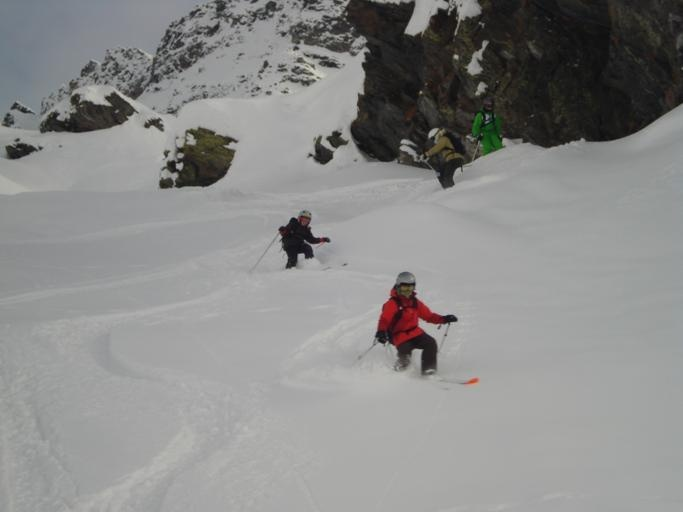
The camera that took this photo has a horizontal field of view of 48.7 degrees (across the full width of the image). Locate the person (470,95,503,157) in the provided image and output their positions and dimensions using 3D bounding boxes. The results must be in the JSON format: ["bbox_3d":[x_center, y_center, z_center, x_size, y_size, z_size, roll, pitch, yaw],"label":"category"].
[{"bbox_3d":[4.336,-3.838,22.579,0.873,1.585,0.813,2,35,31],"label":"person"}]

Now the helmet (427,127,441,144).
[{"bbox_3d":[3.279,-4.352,26.962,0.410,0.520,0.479,12,62,-7],"label":"helmet"}]

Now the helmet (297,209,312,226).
[{"bbox_3d":[-1.089,-1.117,21.829,0.294,0.424,0.463,10,79,-11],"label":"helmet"}]

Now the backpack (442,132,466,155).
[{"bbox_3d":[3.285,-3.294,22.138,0.180,0.538,0.744,-28,74,14],"label":"backpack"}]
